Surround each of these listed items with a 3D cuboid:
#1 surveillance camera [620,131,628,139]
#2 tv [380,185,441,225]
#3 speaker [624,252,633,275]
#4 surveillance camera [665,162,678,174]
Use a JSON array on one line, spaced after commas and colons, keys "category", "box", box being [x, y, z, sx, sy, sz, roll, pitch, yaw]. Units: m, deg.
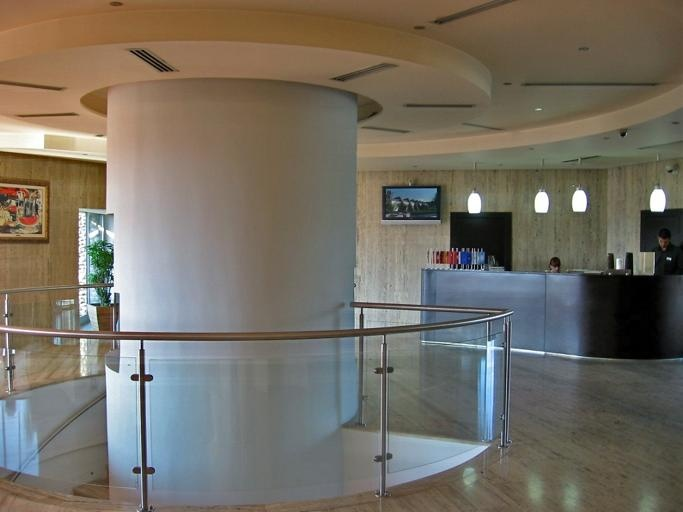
[{"category": "surveillance camera", "box": [4.183, -1.805, 8.230, 0.142, 0.107, 0.125, -1, 2, 21]}, {"category": "tv", "box": [1.532, -1.135, 12.290, 1.232, 0.808, 0.261, 0, 6, -1]}, {"category": "speaker", "box": [4.689, 0.117, 9.100, 0.108, 0.286, 0.780, 3, 7, 25]}, {"category": "surveillance camera", "box": [6.128, -1.620, 10.367, 0.153, 0.205, 0.200, -4, 10, 10]}]
